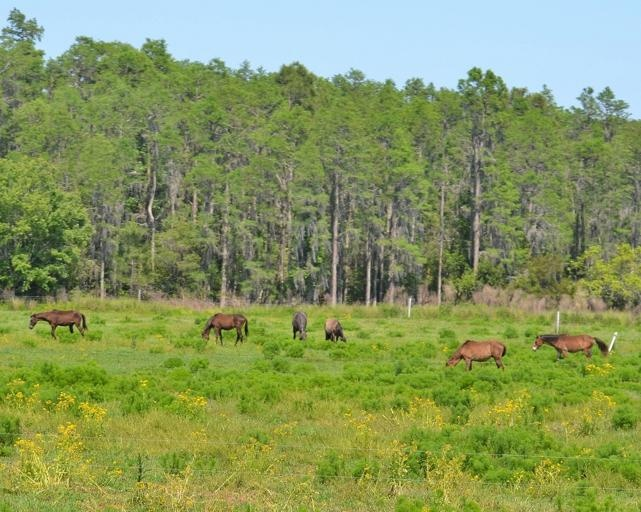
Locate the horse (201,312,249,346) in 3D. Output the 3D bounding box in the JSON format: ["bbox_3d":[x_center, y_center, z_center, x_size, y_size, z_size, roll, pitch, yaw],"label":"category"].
[{"bbox_3d":[-5.448,4.073,74.836,2.539,1.799,3.491,1,14,3],"label":"horse"}]

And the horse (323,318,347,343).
[{"bbox_3d":[0.859,4.308,75.336,1.101,1.248,0.888,0,14,-4],"label":"horse"}]

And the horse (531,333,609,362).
[{"bbox_3d":[13.760,4.976,72.072,3.820,1.597,2.655,2,14,6],"label":"horse"}]
